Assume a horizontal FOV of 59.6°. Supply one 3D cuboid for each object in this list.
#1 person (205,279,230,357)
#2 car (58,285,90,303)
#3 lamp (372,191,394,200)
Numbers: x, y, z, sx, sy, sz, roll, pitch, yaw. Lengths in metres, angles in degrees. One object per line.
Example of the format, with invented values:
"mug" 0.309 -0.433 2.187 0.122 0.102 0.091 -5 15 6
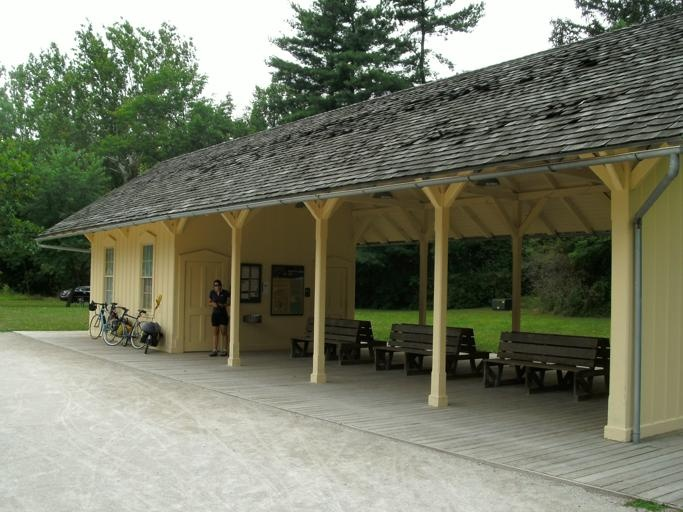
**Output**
"person" -3.039 1.517 14.712 0.491 1.817 1.048 1 -1 -12
"car" -16.608 2.486 36.609 2.293 0.677 1.300 4 0 3
"lamp" 1.177 -1.563 15.762 0.658 0.142 0.628 1 1 -38
